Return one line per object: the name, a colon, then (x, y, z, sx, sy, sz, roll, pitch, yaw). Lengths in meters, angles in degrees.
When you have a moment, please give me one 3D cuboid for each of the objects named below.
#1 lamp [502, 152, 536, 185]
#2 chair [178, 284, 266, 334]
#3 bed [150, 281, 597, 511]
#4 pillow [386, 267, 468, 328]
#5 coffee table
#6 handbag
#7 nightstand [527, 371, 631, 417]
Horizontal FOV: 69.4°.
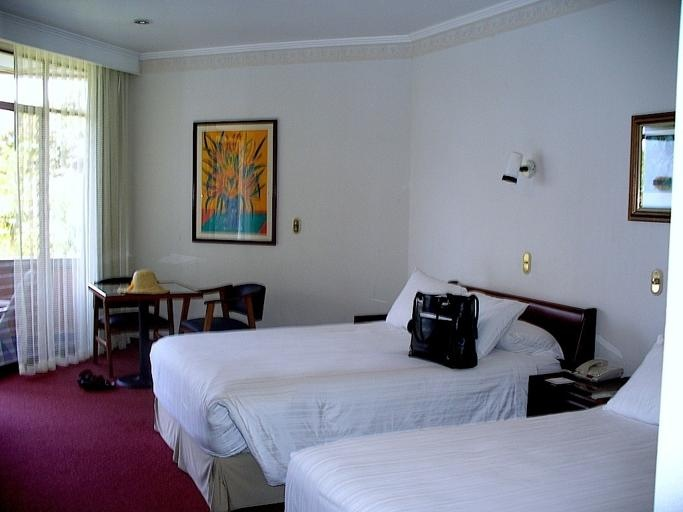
lamp: (1.590, -0.781, 4.367, 0.275, 0.270, 0.245, 5, 10, 22)
chair: (-1.255, 0.591, 5.488, 0.580, 0.789, 0.634, 1, 0, -32)
bed: (0.214, 1.064, 3.544, 1.866, 1.013, 1.957, -3, 4, -23)
pillow: (0.753, 0.468, 4.536, 0.164, 0.604, 0.562, 19, 3, -30)
coffee table: (-2.100, 0.815, 5.189, 0.941, 0.953, 0.923, 2, -2, -42)
handbag: (0.750, 0.544, 3.578, 0.184, 0.438, 0.421, 4, 0, -43)
nightstand: (1.635, 0.864, 3.515, 0.519, 0.372, 0.620, -1, 2, 7)
